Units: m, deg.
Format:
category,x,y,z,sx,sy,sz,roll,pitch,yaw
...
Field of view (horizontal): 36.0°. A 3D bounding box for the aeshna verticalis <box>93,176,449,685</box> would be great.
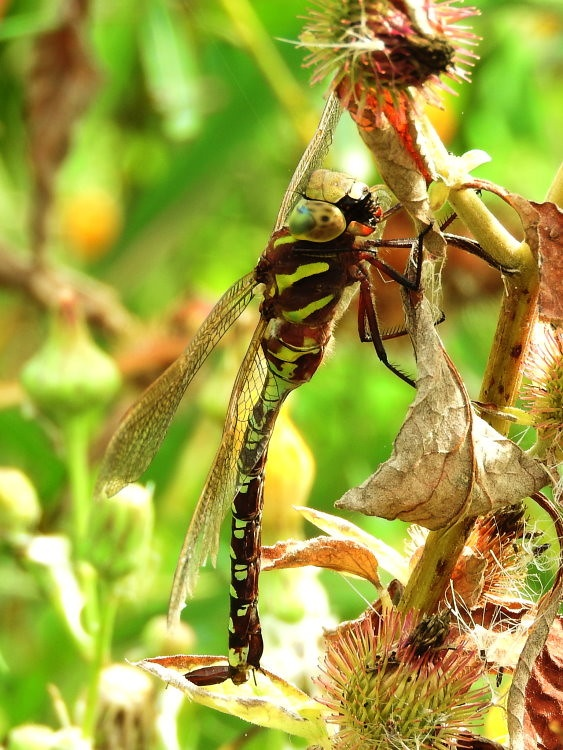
category,x,y,z,sx,sy,sz,roll,pitch,yaw
aeshna verticalis,-0.029,0.049,0.861,0.205,0.477,0.230,32,18,24
